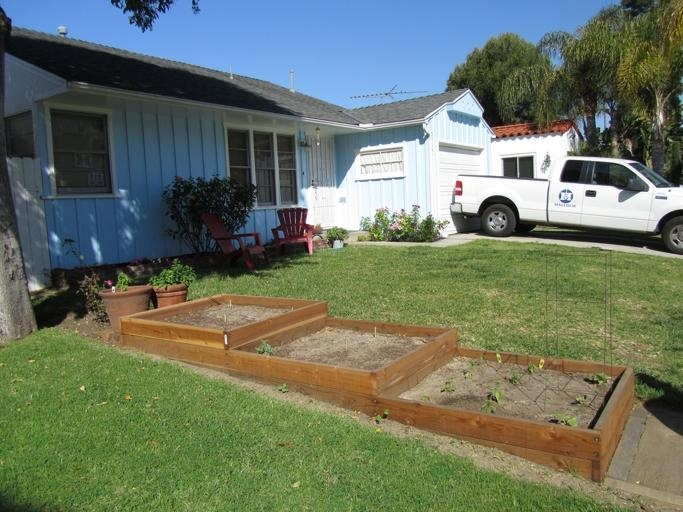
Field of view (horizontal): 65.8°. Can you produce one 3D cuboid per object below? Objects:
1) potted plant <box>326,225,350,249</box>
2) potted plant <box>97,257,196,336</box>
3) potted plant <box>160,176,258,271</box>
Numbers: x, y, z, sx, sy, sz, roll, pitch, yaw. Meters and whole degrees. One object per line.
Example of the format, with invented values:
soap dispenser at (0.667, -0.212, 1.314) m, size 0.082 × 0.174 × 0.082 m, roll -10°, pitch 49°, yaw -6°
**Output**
potted plant at (-0.108, -0.491, 13.316) m, size 0.533 × 0.567 × 0.503 m, roll 1°, pitch 6°, yaw 2°
potted plant at (-2.680, 0.509, 7.272) m, size 1.062 × 0.538 × 0.808 m, roll -7°, pitch 6°, yaw -41°
potted plant at (-2.750, -0.780, 10.927) m, size 1.779 × 1.704 × 1.641 m, roll -5°, pitch 15°, yaw -18°
